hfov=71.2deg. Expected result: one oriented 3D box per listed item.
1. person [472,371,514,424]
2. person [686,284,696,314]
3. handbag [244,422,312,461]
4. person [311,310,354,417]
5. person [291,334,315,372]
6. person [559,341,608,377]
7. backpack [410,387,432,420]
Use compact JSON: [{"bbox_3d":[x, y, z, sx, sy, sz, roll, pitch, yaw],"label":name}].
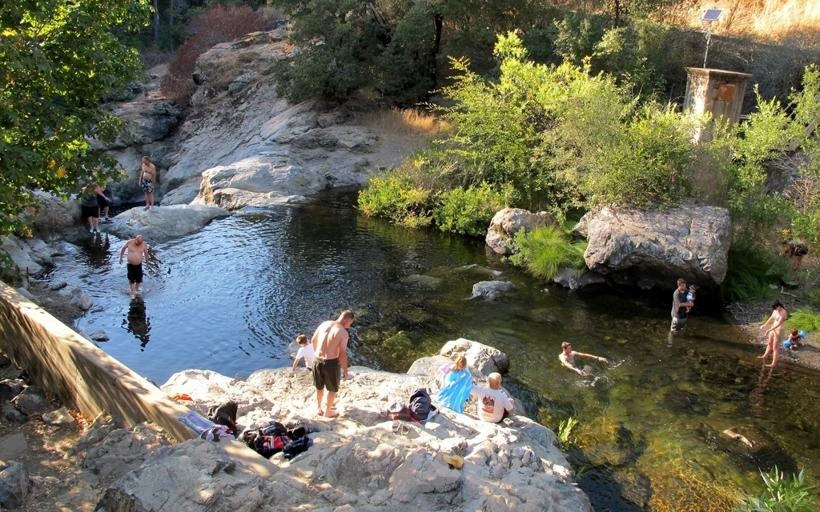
[{"bbox_3d":[2.085,3.637,14.425,0.954,1.264,0.618,13,25,28],"label":"person"},{"bbox_3d":[9.683,1.512,19.767,0.292,0.499,0.886,3,22,32],"label":"person"},{"bbox_3d":[-3.041,4.293,13.415,1.159,0.569,0.876,-1,9,7],"label":"handbag"},{"bbox_3d":[-1.978,2.669,14.360,0.981,2.507,1.273,3,22,7],"label":"person"},{"bbox_3d":[-3.011,2.802,16.254,0.806,0.777,0.482,-40,10,-2],"label":"person"},{"bbox_3d":[5.187,3.217,17.621,1.080,0.723,1.089,18,29,31],"label":"person"},{"bbox_3d":[0.277,3.639,14.028,0.562,0.657,0.452,2,22,5],"label":"backpack"}]
